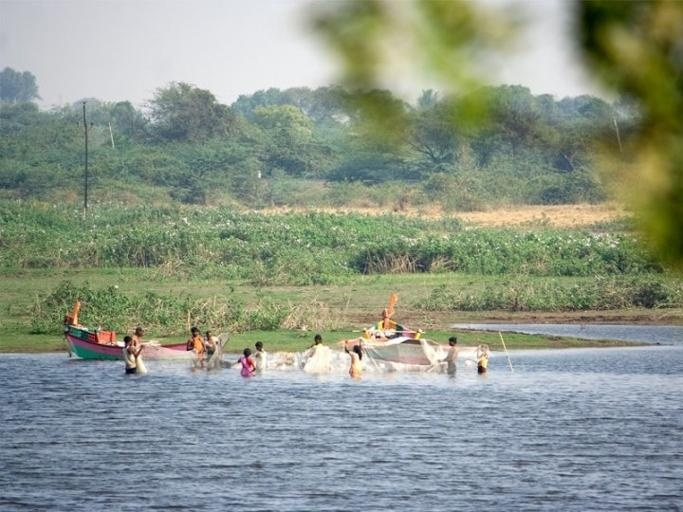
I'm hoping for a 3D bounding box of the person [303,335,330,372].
[{"bbox_3d":[-0.753,3.026,48.082,0.826,1.343,0.591,4,17,8],"label":"person"}]

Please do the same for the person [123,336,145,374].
[{"bbox_3d":[-6.093,2.991,47.251,0.611,1.137,0.705,-1,-6,-9],"label":"person"}]

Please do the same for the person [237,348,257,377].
[{"bbox_3d":[-2.793,3.234,47.470,0.527,1.142,0.630,-2,28,-8],"label":"person"}]

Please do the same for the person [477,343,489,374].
[{"bbox_3d":[4.197,3.144,47.865,0.308,0.912,0.782,-2,-6,5],"label":"person"}]

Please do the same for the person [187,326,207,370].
[{"bbox_3d":[-4.344,2.785,48.007,0.535,1.245,0.371,-1,-6,-5],"label":"person"}]

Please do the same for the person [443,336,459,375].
[{"bbox_3d":[3.268,3.017,47.709,0.353,1.141,0.812,-2,-6,2],"label":"person"}]

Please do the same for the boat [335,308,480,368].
[{"bbox_3d":[1.991,2.593,48.495,3.792,1.907,2.284,-2,-6,0],"label":"boat"}]
